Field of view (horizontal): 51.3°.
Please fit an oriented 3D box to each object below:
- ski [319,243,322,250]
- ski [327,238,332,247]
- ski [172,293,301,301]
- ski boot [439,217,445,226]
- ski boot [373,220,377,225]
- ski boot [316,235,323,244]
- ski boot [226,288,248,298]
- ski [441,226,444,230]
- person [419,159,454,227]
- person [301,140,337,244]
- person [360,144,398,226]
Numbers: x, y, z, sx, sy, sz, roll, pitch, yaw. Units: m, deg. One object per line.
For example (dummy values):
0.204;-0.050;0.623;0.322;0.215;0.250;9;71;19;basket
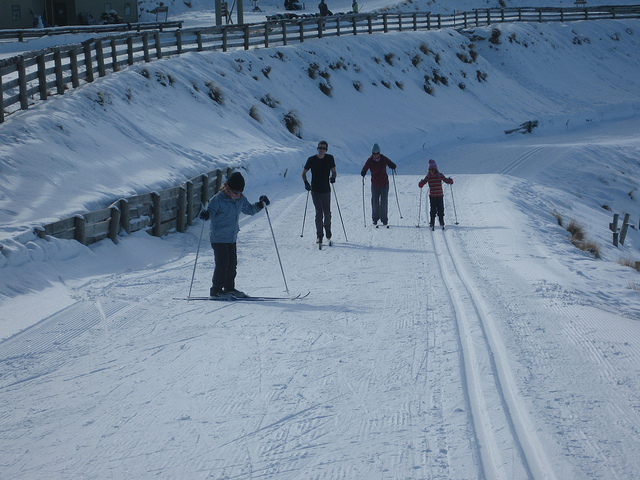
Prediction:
0.009;0.137;14.454;0.054;0.118;0.102;-2;5;0;ski
0.215;0.036;14.781;0.092;0.177;0.151;-2;5;-2;ski
-1.332;0.999;11.437;1.802;0.083;0.138;-2;5;4;ski
2.933;-0.452;16.072;0.105;0.205;0.211;-2;5;9;ski boot
1.355;-0.441;16.676;0.153;0.074;0.140;5;2;1;ski boot
-0.012;-0.009;14.557;0.074;0.210;0.124;7;39;2;ski boot
-1.423;0.924;11.470;0.385;0.156;0.127;-1;0;2;ski boot
2.946;-0.304;16.018;0.069;0.119;0.067;-6;5;5;ski
2.897;-1.179;16.604;0.779;1.625;1.524;-1;5;11;person
-0.001;-1.037;14.660;0.715;2.221;1.268;-2;5;0;person
1.428;-1.338;16.392;0.736;1.982;1.219;-2;5;4;person
